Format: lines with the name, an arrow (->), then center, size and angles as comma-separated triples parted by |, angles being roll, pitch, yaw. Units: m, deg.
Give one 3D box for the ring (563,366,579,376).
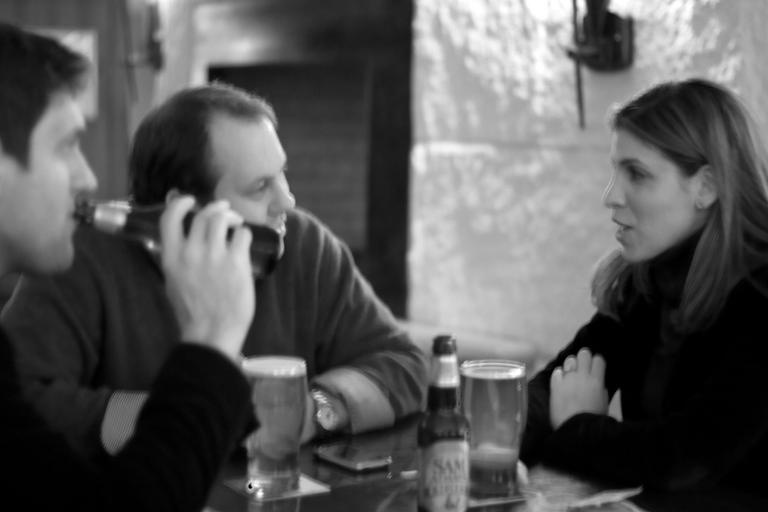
ring -> 0.393, 0.243, 1.676 | 0.030, 0.011, 0.015 | 1, 15, 4
